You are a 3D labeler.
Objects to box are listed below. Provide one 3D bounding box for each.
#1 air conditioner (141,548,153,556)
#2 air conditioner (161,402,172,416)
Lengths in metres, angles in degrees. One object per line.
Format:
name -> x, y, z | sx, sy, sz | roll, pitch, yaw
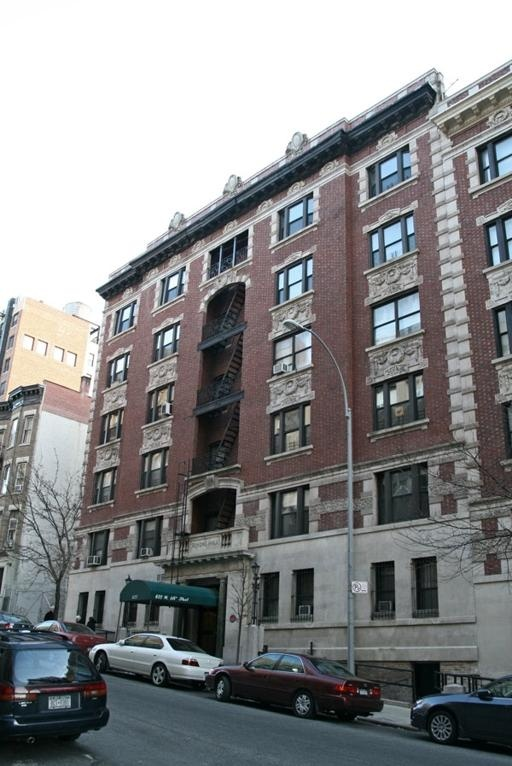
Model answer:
air conditioner -> -5.289, 8.283, 31.570 | 0.561, 0.395, 0.396 | -11, -14, 43
air conditioner -> -4.678, 1.351, 33.981 | 0.529, 0.875, 0.668 | 5, -23, -8
